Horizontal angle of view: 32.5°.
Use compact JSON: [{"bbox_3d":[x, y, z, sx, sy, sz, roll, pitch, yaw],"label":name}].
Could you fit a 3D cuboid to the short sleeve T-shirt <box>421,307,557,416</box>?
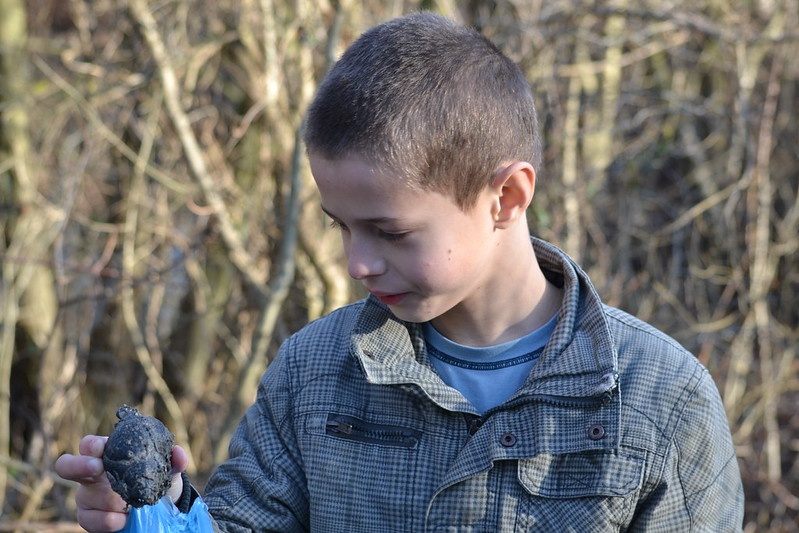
[{"bbox_3d":[0.405,0.481,6.234,0.435,0.414,0.491,-23,-14,6],"label":"short sleeve T-shirt"}]
